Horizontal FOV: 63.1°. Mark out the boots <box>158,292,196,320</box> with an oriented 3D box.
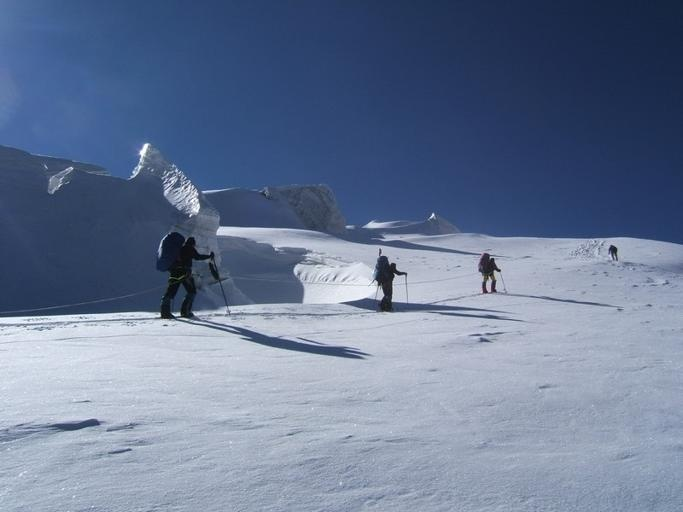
[{"bbox_3d":[-2.595,0.793,8.580,0.422,0.437,0.490,-17,-19,36],"label":"boots"}]
